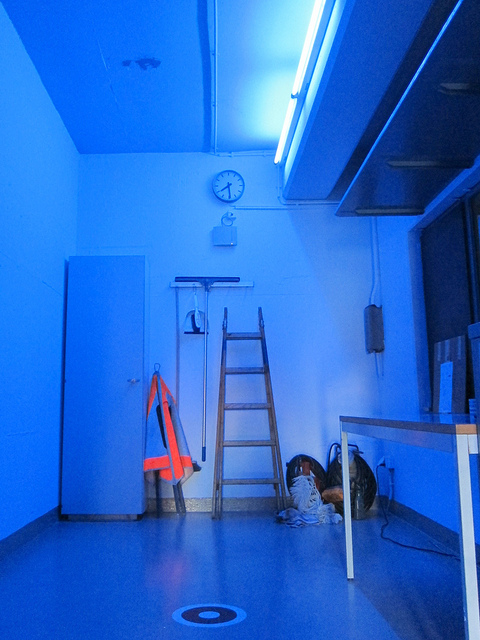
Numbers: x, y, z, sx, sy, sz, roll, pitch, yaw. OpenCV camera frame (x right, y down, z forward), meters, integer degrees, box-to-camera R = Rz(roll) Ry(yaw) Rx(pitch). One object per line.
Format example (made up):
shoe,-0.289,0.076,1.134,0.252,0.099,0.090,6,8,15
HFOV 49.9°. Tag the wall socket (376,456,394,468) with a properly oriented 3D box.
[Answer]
wall socket,1.137,1.072,3.934,0.057,0.054,0.097,-4,0,41
